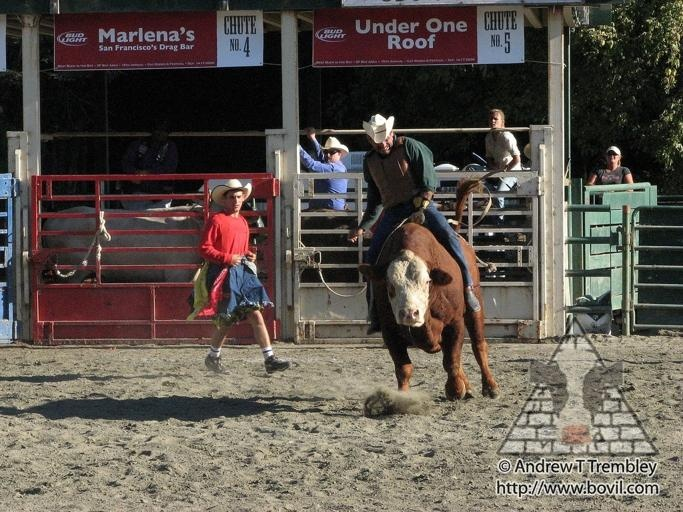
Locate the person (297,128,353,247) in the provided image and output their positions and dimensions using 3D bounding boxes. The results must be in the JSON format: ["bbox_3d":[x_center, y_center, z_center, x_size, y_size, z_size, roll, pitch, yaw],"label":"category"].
[{"bbox_3d":[-0.242,-1.116,16.986,0.651,1.493,1.753,-1,13,0],"label":"person"}]

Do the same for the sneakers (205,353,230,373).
[{"bbox_3d":[-1.516,1.295,14.581,0.384,0.184,0.132,5,6,38],"label":"sneakers"}]

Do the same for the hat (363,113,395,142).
[{"bbox_3d":[0.404,-1.439,13.537,0.322,0.293,0.545,-1,13,1],"label":"hat"}]

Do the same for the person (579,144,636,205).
[{"bbox_3d":[4.142,-1.213,18.730,0.639,0.873,0.468,3,-5,7],"label":"person"}]

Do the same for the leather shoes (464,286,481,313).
[{"bbox_3d":[1.436,0.479,13.356,0.155,0.309,0.136,-25,5,-33],"label":"leather shoes"}]

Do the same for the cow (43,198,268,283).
[{"bbox_3d":[-2.737,0.133,16.868,2.974,1.654,0.846,2,-16,-22],"label":"cow"}]

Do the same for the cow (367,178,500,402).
[{"bbox_3d":[1.034,0.635,13.145,0.985,1.967,1.923,7,15,34],"label":"cow"}]

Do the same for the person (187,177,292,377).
[{"bbox_3d":[-1.316,0.252,14.484,1.011,2.316,0.849,-3,12,-7],"label":"person"}]

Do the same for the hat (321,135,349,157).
[{"bbox_3d":[-0.104,-1.602,17.201,0.292,0.145,0.338,-24,-19,22],"label":"hat"}]
